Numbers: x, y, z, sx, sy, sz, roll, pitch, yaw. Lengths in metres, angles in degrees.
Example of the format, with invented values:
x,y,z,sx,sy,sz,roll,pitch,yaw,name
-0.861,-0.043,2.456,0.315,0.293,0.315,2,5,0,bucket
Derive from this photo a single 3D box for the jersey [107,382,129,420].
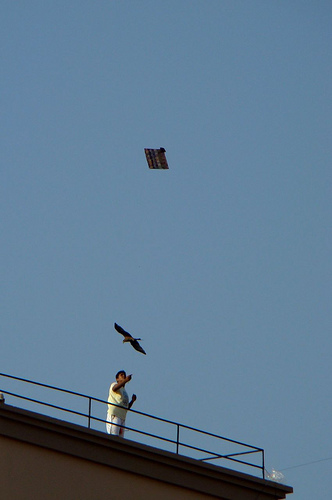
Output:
x,y,z,sx,sy,sz,roll,pitch,yaw,name
-0.538,1.719,14.595,0.204,0.430,0.339,-2,-21,20,jersey

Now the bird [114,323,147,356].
x,y,z,sx,sy,sz,roll,pitch,yaw,name
-0.448,1.106,15.362,0.306,0.316,0.569,1,-40,5,bird
